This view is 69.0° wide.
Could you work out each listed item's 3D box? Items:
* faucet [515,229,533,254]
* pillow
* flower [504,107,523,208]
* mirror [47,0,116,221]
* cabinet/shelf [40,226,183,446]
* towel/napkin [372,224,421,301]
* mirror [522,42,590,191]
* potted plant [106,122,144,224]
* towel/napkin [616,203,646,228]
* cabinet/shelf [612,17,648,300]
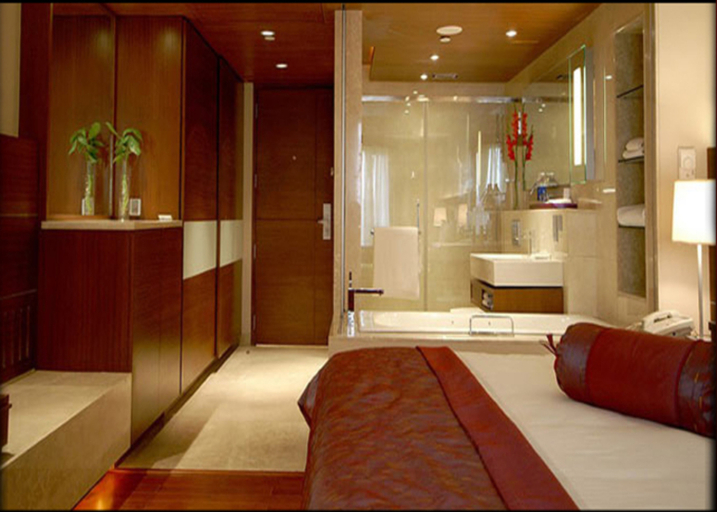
[{"bbox_3d":[1.157,-0.093,3.638,0.118,0.150,0.071,4,14,13],"label":"faucet"},{"bbox_3d":[1.076,0.446,2.162,0.675,0.313,0.297,16,3,31],"label":"pillow"},{"bbox_3d":[1.087,-0.674,3.613,0.144,0.668,0.075,4,14,15],"label":"flower"},{"bbox_3d":[-1.768,-1.160,3.313,0.044,0.689,0.564,17,24,7],"label":"mirror"},{"bbox_3d":[-1.538,0.406,3.422,0.585,1.343,0.849,3,14,12],"label":"cabinet/shelf"},{"bbox_3d":[0.259,0.062,3.650,0.358,0.580,0.073,4,13,17],"label":"towel/napkin"},{"bbox_3d":[1.394,-0.981,3.599,0.461,0.917,0.170,3,14,10],"label":"mirror"},{"bbox_3d":[-1.643,-0.675,3.750,0.201,0.555,0.278,5,11,-3],"label":"potted plant"},{"bbox_3d":[1.824,-0.255,3.441,0.071,0.162,0.242,-4,15,-18],"label":"towel/napkin"},{"bbox_3d":[1.823,-0.571,3.379,0.128,1.740,0.360,-4,5,4],"label":"cabinet/shelf"}]
